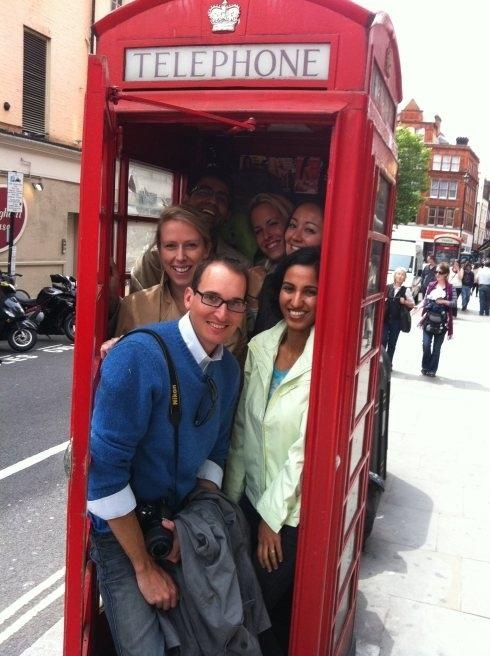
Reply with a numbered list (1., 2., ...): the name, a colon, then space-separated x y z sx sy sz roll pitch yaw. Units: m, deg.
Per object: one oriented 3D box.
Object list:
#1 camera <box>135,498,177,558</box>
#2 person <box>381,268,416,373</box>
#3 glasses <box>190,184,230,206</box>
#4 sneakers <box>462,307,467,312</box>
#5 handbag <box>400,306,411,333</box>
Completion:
1. camera: -0.291 0.666 1.691 0.159 0.109 0.173 6 24 -24
2. person: 2.750 -0.175 9.135 0.495 1.756 1.032 4 7 16
3. glasses: -0.203 -0.758 2.898 0.130 0.050 0.142 3 -11 -10
4. sneakers: 10.547 -0.866 24.471 0.141 0.291 0.150 -2 17 8
5. handbag: 2.816 -0.157 8.951 0.159 0.442 0.196 6 8 26
